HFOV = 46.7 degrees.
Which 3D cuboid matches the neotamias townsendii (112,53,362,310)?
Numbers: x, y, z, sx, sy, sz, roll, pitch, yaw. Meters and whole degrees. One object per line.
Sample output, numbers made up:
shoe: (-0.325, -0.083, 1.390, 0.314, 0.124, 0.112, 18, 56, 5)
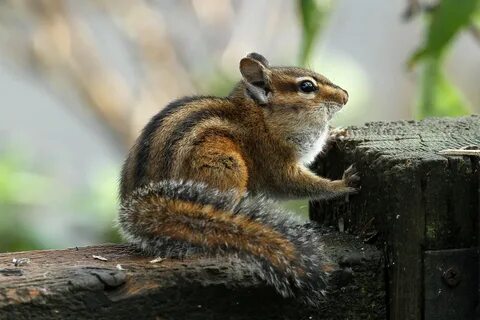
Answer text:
neotamias townsendii: (-0.280, 0.094, 5.136, 1.695, 2.328, 2.644, 7, 8, 41)
